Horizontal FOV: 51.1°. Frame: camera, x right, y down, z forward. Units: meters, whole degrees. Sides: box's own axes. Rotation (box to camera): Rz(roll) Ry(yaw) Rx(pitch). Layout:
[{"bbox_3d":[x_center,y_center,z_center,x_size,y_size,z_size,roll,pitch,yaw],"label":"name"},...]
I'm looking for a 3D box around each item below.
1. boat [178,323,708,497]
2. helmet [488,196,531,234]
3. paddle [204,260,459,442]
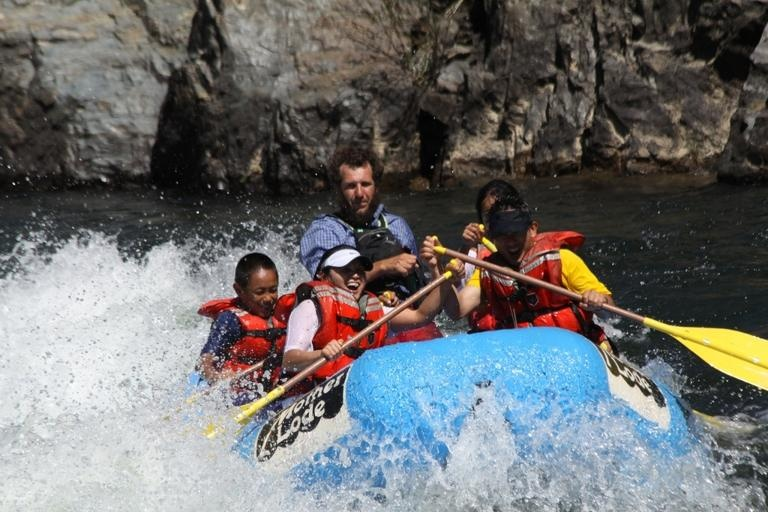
[{"bbox_3d":[0.518,1.456,6.760,2.696,0.535,1.619,-16,-9,38],"label":"boat"},{"bbox_3d":[1.165,-0.372,7.334,0.415,0.332,0.317,4,24,7],"label":"helmet"},{"bbox_3d":[-0.464,0.878,7.131,2.324,0.324,0.395,-33,1,-1],"label":"paddle"}]
